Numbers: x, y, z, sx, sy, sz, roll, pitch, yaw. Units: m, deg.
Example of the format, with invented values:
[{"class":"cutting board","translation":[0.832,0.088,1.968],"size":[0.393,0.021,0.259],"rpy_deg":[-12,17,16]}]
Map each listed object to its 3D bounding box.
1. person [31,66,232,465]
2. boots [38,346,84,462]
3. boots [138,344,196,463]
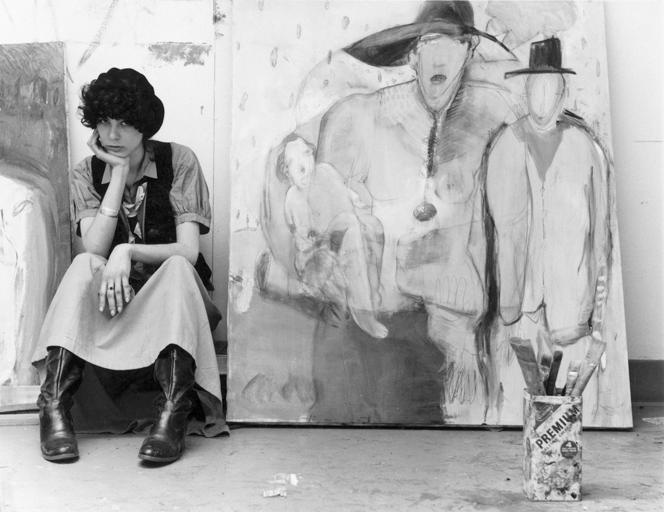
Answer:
[{"class":"person","translation":[-0.721,0.067,2.916],"size":[0.628,1.581,0.673],"rpy_deg":[3,8,-5]},{"class":"boots","translation":[-0.967,0.521,2.716],"size":[0.145,0.394,0.196],"rpy_deg":[2,-4,-22]},{"class":"boots","translation":[-0.585,0.524,2.721],"size":[0.161,0.402,0.228],"rpy_deg":[0,-4,-1]}]
